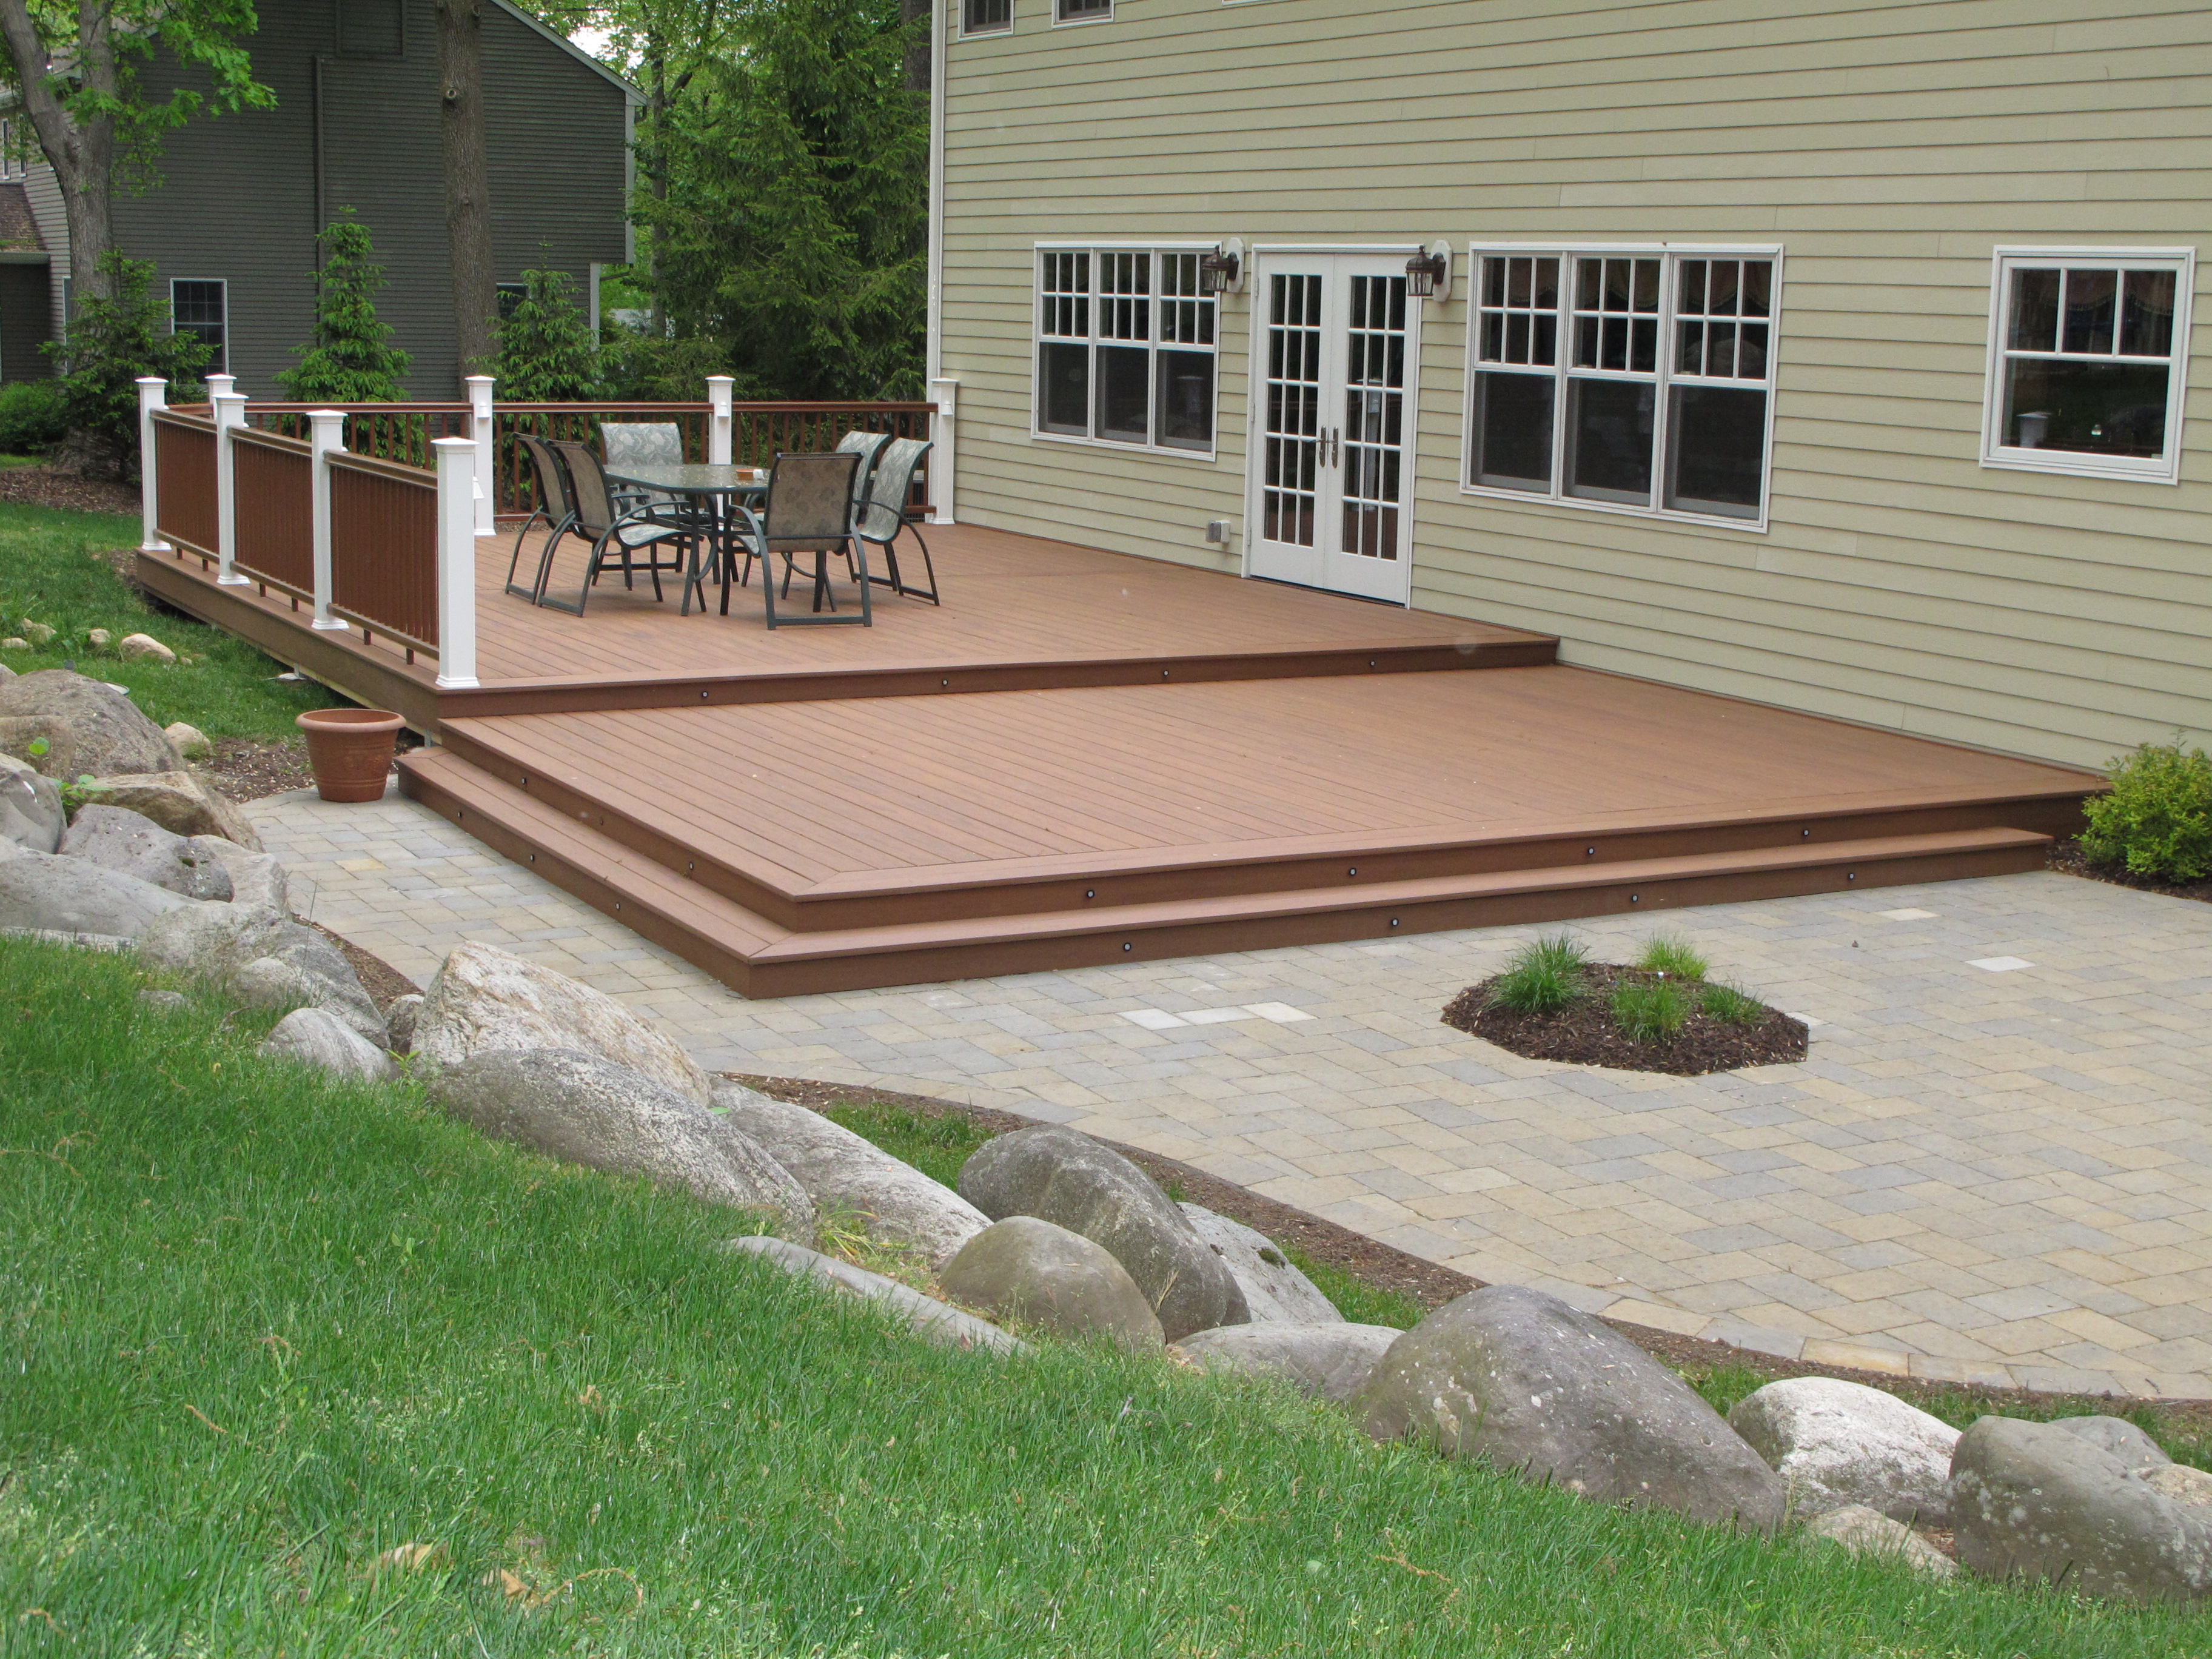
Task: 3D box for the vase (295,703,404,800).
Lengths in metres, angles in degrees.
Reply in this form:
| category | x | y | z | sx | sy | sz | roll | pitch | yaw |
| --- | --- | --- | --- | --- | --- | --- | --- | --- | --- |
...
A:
| category | x | y | z | sx | sy | sz | roll | pitch | yaw |
| --- | --- | --- | --- | --- | --- | --- | --- | --- | --- |
| vase | -4.283 | -0.437 | 9.781 | 0.621 | 0.371 | 0.556 | 1 | 7 | -2 |

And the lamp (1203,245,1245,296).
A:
| category | x | y | z | sx | sy | sz | roll | pitch | yaw |
| --- | --- | --- | --- | --- | --- | --- | --- | --- | --- |
| lamp | 1.008 | -5.032 | 15.543 | 0.242 | 0.413 | 0.481 | 7 | 9 | -25 |

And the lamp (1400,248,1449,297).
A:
| category | x | y | z | sx | sy | sz | roll | pitch | yaw |
| --- | --- | --- | --- | --- | --- | --- | --- | --- | --- |
| lamp | 2.500 | -4.364 | 13.456 | 0.139 | 0.369 | 0.373 | 5 | 10 | -36 |
